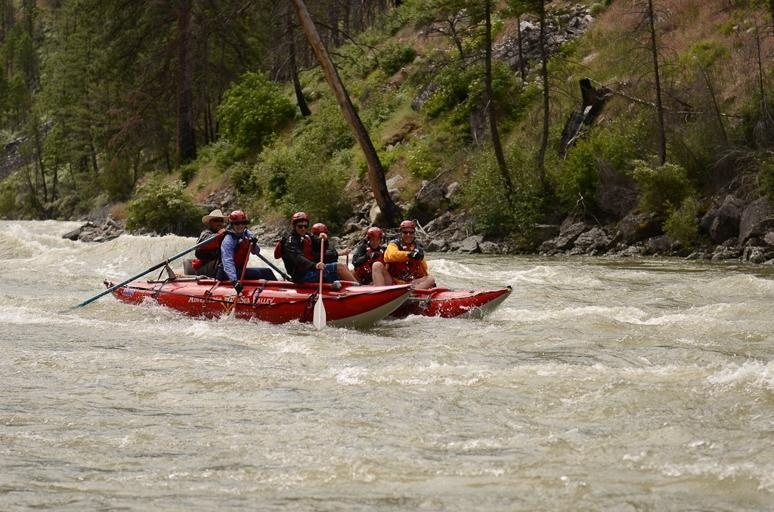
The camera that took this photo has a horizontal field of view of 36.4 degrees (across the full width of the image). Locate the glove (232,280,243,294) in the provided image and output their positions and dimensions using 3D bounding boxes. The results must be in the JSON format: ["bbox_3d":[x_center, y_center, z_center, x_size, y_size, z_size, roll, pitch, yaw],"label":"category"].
[{"bbox_3d":[-4.763,1.078,37.553,0.239,0.179,0.525,8,19,-17],"label":"glove"}]

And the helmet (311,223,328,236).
[{"bbox_3d":[-2.202,-0.868,38.346,0.405,0.495,0.526,-1,11,-9],"label":"helmet"}]

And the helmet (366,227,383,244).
[{"bbox_3d":[-0.419,-0.636,38.260,0.447,0.529,0.507,-1,4,-7],"label":"helmet"}]

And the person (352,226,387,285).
[{"bbox_3d":[-0.484,0.006,38.250,0.910,2.068,1.196,-1,0,-7],"label":"person"}]

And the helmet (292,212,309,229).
[{"bbox_3d":[-2.826,-1.152,38.025,0.423,0.498,0.544,2,-5,-17],"label":"helmet"}]
